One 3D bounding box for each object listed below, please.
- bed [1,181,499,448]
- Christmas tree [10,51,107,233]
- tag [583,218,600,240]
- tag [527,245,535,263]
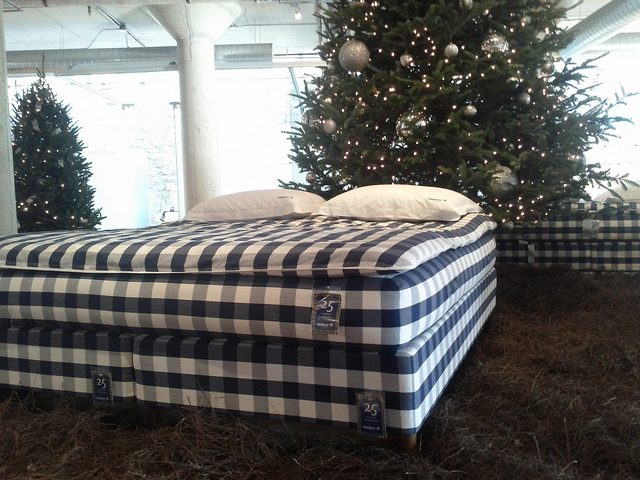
[{"bbox_3d":[-0.328,0.249,2.664,2.294,0.795,1.560,-2,12,-1],"label":"bed"},{"bbox_3d":[-3.127,-0.936,6.491,1.096,1.659,1.045,-7,13,-32],"label":"Christmas tree"},{"bbox_3d":[2.289,-0.085,4.744,0.127,0.154,0.056,3,6,26],"label":"tag"},{"bbox_3d":[1.856,0.121,4.947,0.054,0.154,0.028,0,14,10],"label":"tag"}]
